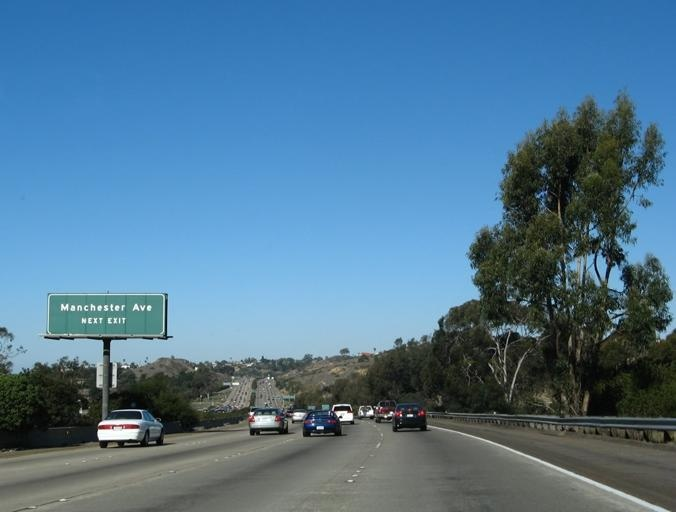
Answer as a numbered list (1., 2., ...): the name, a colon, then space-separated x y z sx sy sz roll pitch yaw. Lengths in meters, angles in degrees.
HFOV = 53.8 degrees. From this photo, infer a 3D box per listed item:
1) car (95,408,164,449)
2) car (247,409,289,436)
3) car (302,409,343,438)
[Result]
1. car: -9.669 8.192 31.565 1.689 1.742 3.027 -6 -17 14
2. car: -4.358 10.437 41.614 1.798 1.606 2.380 -6 -16 10
3. car: -0.965 9.791 38.555 2.078 1.452 2.643 -2 -16 -4
